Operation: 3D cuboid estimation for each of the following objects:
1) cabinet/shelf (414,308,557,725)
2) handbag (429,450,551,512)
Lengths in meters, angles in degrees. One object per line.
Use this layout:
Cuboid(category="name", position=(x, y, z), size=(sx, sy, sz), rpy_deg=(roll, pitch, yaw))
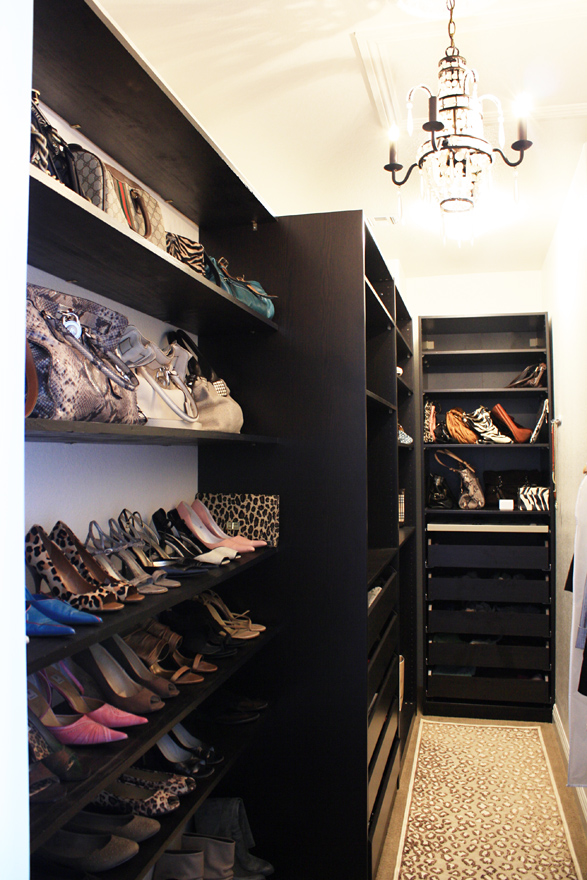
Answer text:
Cuboid(category="cabinet/shelf", position=(1.147, 0.348, 3.719), size=(0.667, 2.262, 0.503), rpy_deg=(-1, -6, 18))
Cuboid(category="handbag", position=(1.135, 0.228, 3.728), size=(0.829, 0.320, 0.479), rpy_deg=(0, -2, 2))
